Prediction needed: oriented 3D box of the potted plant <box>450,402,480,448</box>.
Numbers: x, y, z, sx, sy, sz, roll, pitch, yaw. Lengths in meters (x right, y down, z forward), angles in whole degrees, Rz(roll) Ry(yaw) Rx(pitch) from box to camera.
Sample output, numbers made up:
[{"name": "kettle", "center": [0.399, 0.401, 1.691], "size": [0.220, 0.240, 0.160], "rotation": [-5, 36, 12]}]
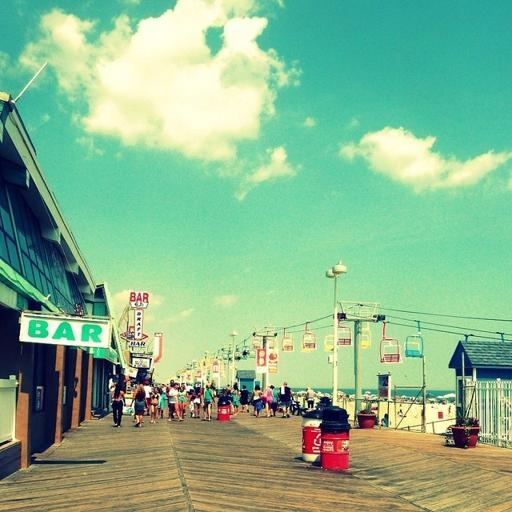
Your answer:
[{"name": "potted plant", "center": [6.504, 5.418, 18.999], "size": [0.777, 1.010, 0.732], "rotation": [3, -15, -9]}]

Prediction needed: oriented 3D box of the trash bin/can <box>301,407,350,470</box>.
[{"name": "trash bin/can", "center": [1.706, 4.489, 14.979], "size": [1.000, 1.709, 1.578], "rotation": [3, -19, -5]}]

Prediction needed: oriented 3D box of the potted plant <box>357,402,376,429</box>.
[{"name": "potted plant", "center": [4.596, 6.710, 25.598], "size": [0.730, 0.993, 0.916], "rotation": [-2, -15, 10]}]
